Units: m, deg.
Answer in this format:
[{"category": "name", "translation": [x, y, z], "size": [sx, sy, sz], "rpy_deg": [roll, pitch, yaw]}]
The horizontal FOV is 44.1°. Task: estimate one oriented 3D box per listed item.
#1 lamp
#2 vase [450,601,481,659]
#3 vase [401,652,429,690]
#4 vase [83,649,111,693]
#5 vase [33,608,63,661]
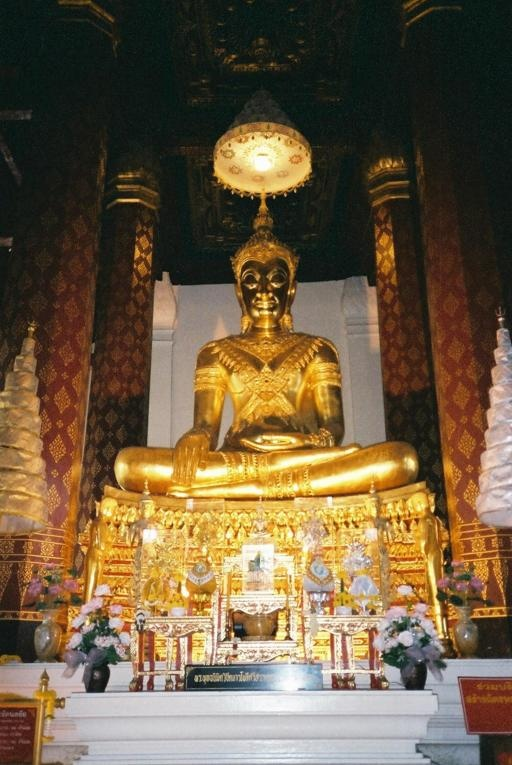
[{"category": "lamp", "translation": [0.035, -1.406, 4.007], "size": [0.663, 0.693, 0.646], "rpy_deg": [2, -29, -3]}, {"category": "vase", "translation": [0.692, 0.825, 2.093], "size": [0.108, 0.157, 0.106], "rpy_deg": [-4, -7, 6]}, {"category": "vase", "translation": [0.374, 0.694, 1.514], "size": [0.056, 0.069, 0.072], "rpy_deg": [-11, -23, 27]}, {"category": "vase", "translation": [-0.398, 0.708, 1.560], "size": [0.059, 0.100, 0.112], "rpy_deg": [4, -21, -11]}, {"category": "vase", "translation": [-0.718, 0.864, 2.168], "size": [0.083, 0.160, 0.161], "rpy_deg": [6, -22, -17]}]
